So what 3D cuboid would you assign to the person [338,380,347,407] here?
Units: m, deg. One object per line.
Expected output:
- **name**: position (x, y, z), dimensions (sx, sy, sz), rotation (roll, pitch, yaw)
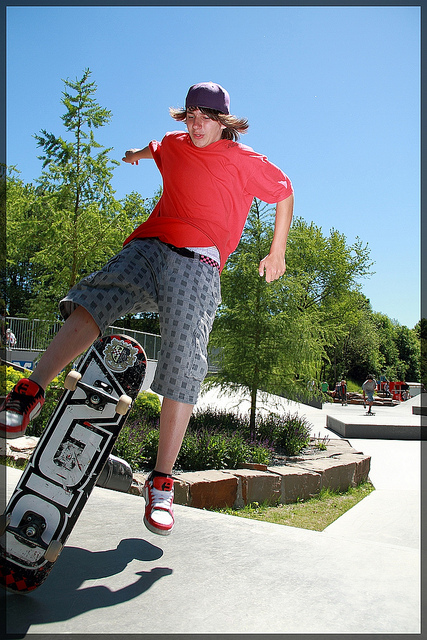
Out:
- **person**: position (7.761, 4.186, 24.933), dimensions (0.404, 1.377, 1.437), rotation (4, -11, 16)
